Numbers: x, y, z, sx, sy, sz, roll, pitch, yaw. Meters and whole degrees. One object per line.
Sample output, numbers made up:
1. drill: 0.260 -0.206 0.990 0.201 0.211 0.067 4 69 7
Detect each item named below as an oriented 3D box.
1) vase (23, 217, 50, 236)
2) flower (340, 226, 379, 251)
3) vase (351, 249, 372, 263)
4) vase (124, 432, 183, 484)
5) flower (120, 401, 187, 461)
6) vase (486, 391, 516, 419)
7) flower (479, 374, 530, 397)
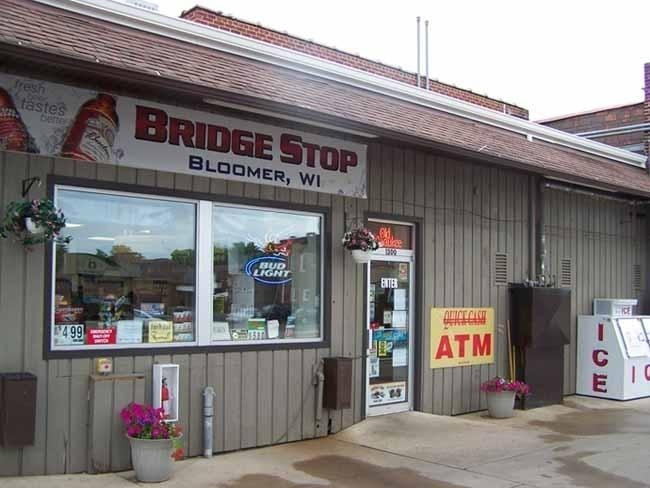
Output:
1. vase: -3.171 -0.208 6.667 0.205 0.150 0.161 5 -10 -32
2. flower: 0.482 -0.098 8.857 0.372 0.214 0.373 2 -2 -11
3. vase: 0.531 0.157 8.855 0.192 0.152 0.191 2 -1 -27
4. vase: -1.901 2.355 6.793 0.480 0.382 0.495 -1 -5 30
5. flower: -2.046 2.149 6.866 0.782 0.560 0.725 12 -9 -6
6. vase: 2.917 2.645 10.137 0.435 0.344 0.439 2 -6 -14
7. flower: 2.991 2.383 10.233 0.613 0.311 0.496 0 0 29
